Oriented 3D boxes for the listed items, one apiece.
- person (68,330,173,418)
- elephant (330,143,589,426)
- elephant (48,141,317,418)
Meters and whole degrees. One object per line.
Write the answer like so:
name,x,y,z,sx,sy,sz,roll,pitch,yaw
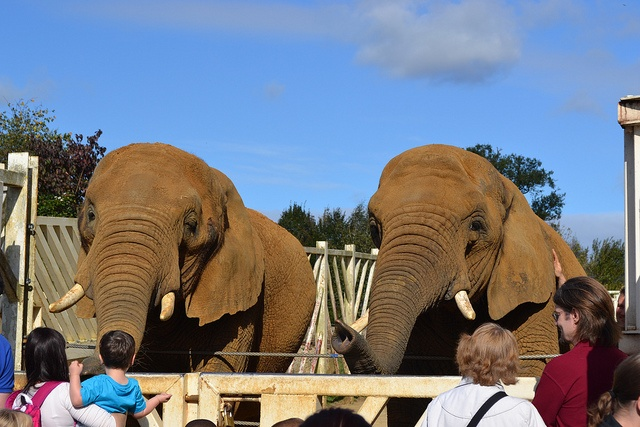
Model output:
person,-1.535,1.264,6.420,0.707,1.079,0.369,12,31,-5
elephant,1.589,0.949,8.862,1.483,2.320,3.706,-10,-28,33
elephant,-1.031,0.903,8.774,1.554,2.369,3.993,-7,-23,19
